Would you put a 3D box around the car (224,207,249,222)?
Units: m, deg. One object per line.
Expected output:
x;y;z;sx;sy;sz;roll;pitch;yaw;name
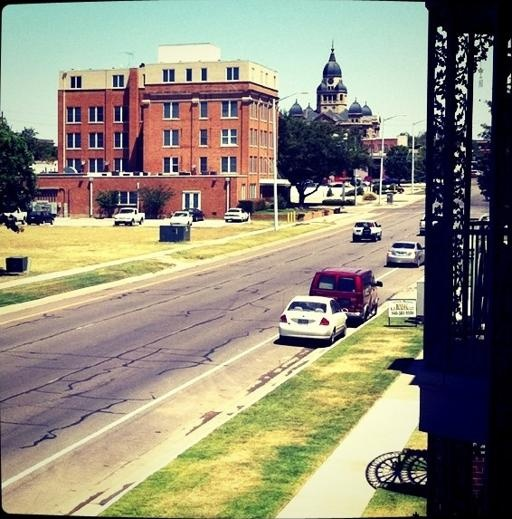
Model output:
-1.727;-3.957;71.721;2.102;1.199;1.309;0;6;5;car

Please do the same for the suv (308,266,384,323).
3.014;1.129;25.797;1.586;1.201;2.349;2;9;20;suv

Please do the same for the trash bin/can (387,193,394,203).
15.524;-7.026;91.842;0.575;1.178;1.446;0;6;5;trash bin/can

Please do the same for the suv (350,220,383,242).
7.756;-1.938;55.244;2.031;1.285;2.166;0;6;7;suv

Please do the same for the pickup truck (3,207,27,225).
-21.443;-3.897;72.148;1.159;1.372;6.663;-3;7;-16;pickup truck

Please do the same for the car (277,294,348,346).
1.618;1.727;22.800;1.443;1.345;1.616;2;7;24;car

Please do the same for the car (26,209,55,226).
-19.610;-3.787;72.261;1.179;1.087;2.087;0;-1;9;car

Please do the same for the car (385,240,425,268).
8.200;-0.065;42.787;1.661;1.208;3.833;2;8;18;car
